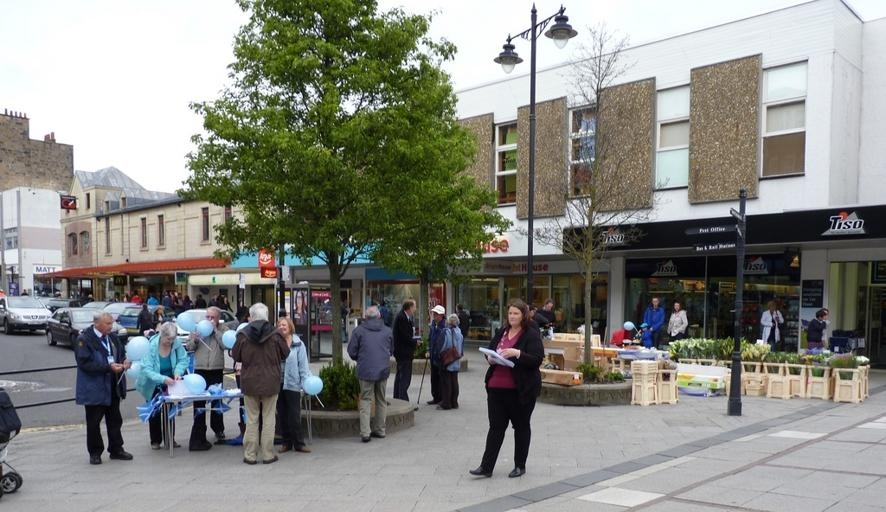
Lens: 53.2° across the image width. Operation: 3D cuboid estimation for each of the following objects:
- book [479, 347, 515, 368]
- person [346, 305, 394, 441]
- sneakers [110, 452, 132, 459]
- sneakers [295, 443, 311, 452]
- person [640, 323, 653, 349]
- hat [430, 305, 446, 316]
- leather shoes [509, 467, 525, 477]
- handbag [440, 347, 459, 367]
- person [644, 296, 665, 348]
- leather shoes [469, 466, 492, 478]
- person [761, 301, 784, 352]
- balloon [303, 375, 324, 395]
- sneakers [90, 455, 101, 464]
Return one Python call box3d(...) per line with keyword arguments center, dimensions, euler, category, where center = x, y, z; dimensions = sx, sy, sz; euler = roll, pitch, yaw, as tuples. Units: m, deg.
box3d(center=(1.368, 2.563, 22.311), dimensions=(0.825, 0.513, 0.456), euler=(0, 14, 1), category="book")
box3d(center=(-2.045, 3.256, 24.447), dimensions=(0.968, 3.600, 1.354), euler=(6, 16, 23), category="person")
box3d(center=(-8.496, 5.327, 23.477), dimensions=(0.563, 0.215, 0.223), euler=(-1, -4, 2), category="sneakers")
box3d(center=(-3.750, 5.212, 23.745), dimensions=(0.432, 0.165, 0.158), euler=(-8, -10, 43), category="sneakers")
box3d(center=(7.528, 3.004, 32.736), dimensions=(0.428, 1.065, 0.433), euler=(12, -27, 13), category="person")
box3d(center=(-0.133, 1.684, 27.291), dimensions=(0.259, 0.170, 0.338), euler=(1, -23, 47), category="hat")
box3d(center=(1.876, 5.566, 22.560), dimensions=(0.177, 0.152, 0.400), euler=(-10, -16, 43), category="leather shoes")
box3d(center=(0.241, 3.119, 27.095), dimensions=(0.598, 0.575, 0.178), euler=(-9, 17, -29), category="handbag")
box3d(center=(8.002, 2.781, 33.701), dimensions=(0.802, 2.311, 0.721), euler=(9, 19, 27), category="person")
box3d(center=(0.923, 5.573, 22.626), dimensions=(0.637, 0.260, 0.232), euler=(5, -5, 3), category="leather shoes")
box3d(center=(12.050, 2.579, 32.559), dimensions=(0.819, 1.626, 0.963), euler=(5, 16, 21), category="person")
box3d(center=(-3.565, 3.590, 24.025), dimensions=(0.566, 0.538, 0.670), euler=(11, -22, -10), category="balloon")
box3d(center=(-9.127, 5.365, 23.196), dimensions=(0.303, 0.208, 0.228), euler=(-5, 15, -18), category="sneakers")
